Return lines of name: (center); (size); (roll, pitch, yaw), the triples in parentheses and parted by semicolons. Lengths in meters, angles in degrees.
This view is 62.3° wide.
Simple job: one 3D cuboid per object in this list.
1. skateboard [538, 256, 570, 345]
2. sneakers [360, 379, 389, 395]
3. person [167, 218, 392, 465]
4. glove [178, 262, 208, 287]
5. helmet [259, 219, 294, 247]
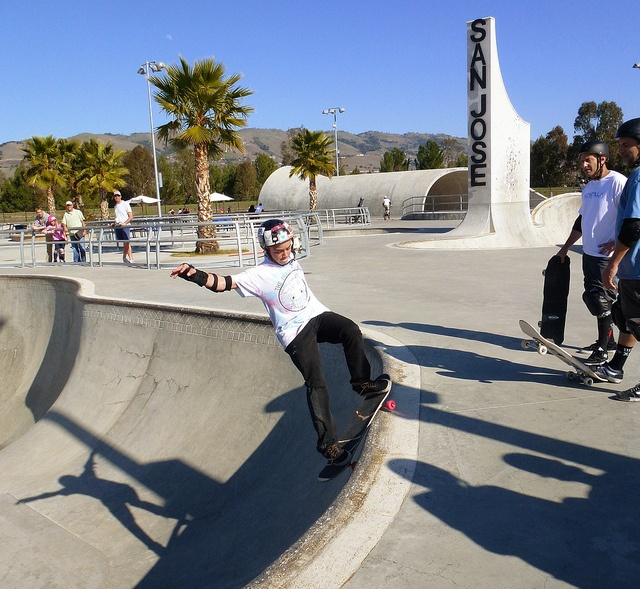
skateboard: (2.213, -0.065, 4.952); (0.199, 1.022, 0.159); (3, 8, 28)
sneakers: (0.398, 0.642, 3.671); (0.098, 0.096, 0.244); (8, -27, -43)
person: (-0.133, 0.293, 3.621); (1.132, 1.611, 0.689); (2, 12, 22)
glove: (-0.857, -0.141, 3.576); (0.180, 0.169, 0.375); (-6, 12, -15)
helmet: (-0.296, -0.402, 3.522); (0.144, 0.219, 0.198); (-6, 13, -3)
